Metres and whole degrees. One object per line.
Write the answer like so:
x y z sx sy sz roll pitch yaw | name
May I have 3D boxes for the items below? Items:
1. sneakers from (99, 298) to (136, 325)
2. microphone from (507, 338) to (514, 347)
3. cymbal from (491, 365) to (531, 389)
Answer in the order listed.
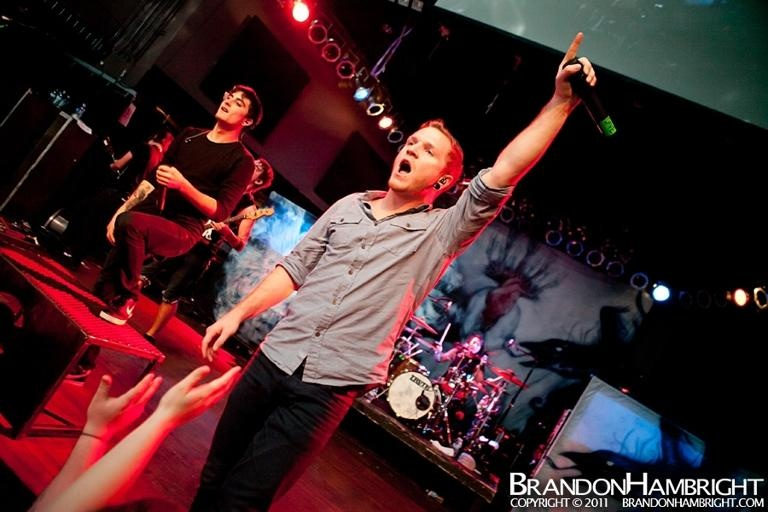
-2.414 0.514 4.278 0.205 0.265 0.621 70 -21 -2 | sneakers
2.016 1.375 7.419 0.100 0.108 0.099 2 -9 16 | microphone
1.801 1.739 6.727 0.468 0.118 0.472 22 -16 25 | cymbal
